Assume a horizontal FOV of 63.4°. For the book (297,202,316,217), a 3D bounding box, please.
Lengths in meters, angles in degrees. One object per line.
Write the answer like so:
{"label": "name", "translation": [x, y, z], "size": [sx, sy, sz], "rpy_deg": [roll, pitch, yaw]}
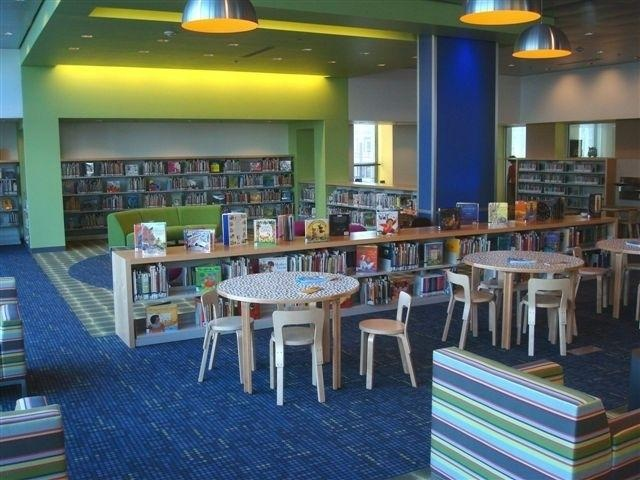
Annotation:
{"label": "book", "translation": [-0.361, -0.882, 15.218], "size": [0.231, 0.383, 0.421], "rpy_deg": [-8, 14, -36]}

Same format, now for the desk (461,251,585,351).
{"label": "desk", "translation": [2.329, 0.609, 6.168], "size": [1.257, 0.831, 1.219], "rpy_deg": [-7, 9, -42]}

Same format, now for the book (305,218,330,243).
{"label": "book", "translation": [-0.025, -0.111, 6.738], "size": [0.336, 0.279, 0.103], "rpy_deg": [-2, 3, -32]}

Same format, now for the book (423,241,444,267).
{"label": "book", "translation": [1.683, 0.186, 7.701], "size": [0.436, 0.385, 0.307], "rpy_deg": [-3, 5, -30]}

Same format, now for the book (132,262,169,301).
{"label": "book", "translation": [-1.932, 0.482, 6.033], "size": [0.401, 0.467, 0.502], "rpy_deg": [-2, 6, -14]}

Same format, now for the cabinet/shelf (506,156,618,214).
{"label": "cabinet/shelf", "translation": [7.284, -1.693, 15.396], "size": [0.561, 1.626, 2.946], "rpy_deg": [-5, 7, -32]}

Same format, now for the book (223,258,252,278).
{"label": "book", "translation": [-0.991, 0.336, 6.288], "size": [0.253, 0.309, 0.334], "rpy_deg": [0, 6, 5]}

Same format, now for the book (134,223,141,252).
{"label": "book", "translation": [-2.091, -0.025, 5.958], "size": [0.062, 0.307, 0.086], "rpy_deg": [-7, 8, -40]}

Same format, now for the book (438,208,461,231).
{"label": "book", "translation": [1.941, -0.296, 7.663], "size": [0.366, 0.308, 0.115], "rpy_deg": [-3, 5, -34]}

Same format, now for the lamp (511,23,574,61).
{"label": "lamp", "translation": [2.437, -2.139, 5.819], "size": [0.603, 0.325, 0.566], "rpy_deg": [-2, 5, -9]}

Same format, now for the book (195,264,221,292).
{"label": "book", "translation": [-1.295, 0.450, 6.044], "size": [0.359, 0.310, 0.112], "rpy_deg": [-2, 4, -28]}

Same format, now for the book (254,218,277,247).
{"label": "book", "translation": [-0.672, -0.080, 6.444], "size": [0.357, 0.307, 0.123], "rpy_deg": [1, 11, -4]}

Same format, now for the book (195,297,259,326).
{"label": "book", "translation": [-1.006, 0.755, 5.483], "size": [0.575, 0.330, 0.300], "rpy_deg": [-3, 6, -40]}

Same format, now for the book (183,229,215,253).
{"label": "book", "translation": [-1.462, 0.010, 6.272], "size": [0.322, 0.275, 0.297], "rpy_deg": [0, 1, -20]}

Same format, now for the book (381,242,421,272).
{"label": "book", "translation": [1.217, 0.220, 7.361], "size": [0.549, 0.373, 0.540], "rpy_deg": [2, 7, 42]}
